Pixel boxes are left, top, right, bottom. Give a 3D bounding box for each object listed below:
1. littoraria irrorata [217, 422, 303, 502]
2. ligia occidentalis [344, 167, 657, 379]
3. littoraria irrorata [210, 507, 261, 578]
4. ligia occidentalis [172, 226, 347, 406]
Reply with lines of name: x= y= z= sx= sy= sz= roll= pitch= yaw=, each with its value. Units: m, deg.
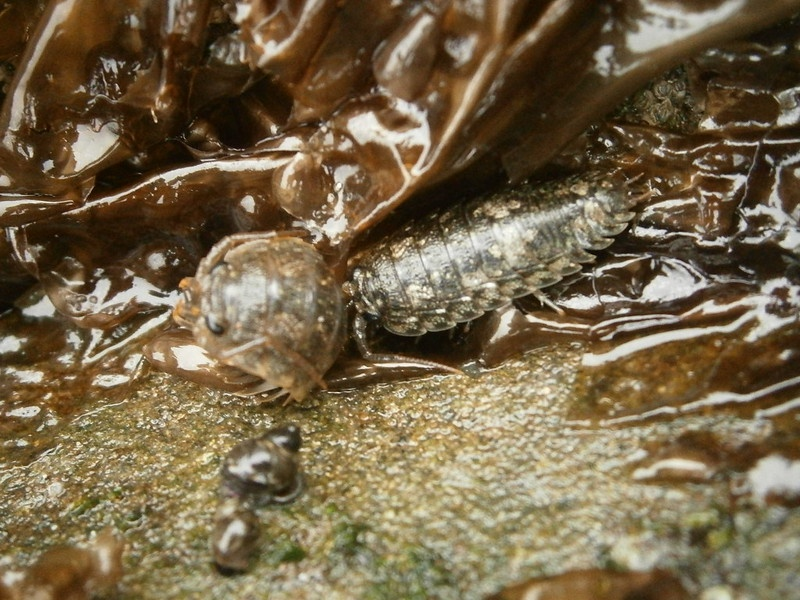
littoraria irrorata: x=-0.492 y=0.590 z=3.225 sx=0.289 sy=0.235 sz=0.221 roll=5 pitch=51 yaw=-9
ligia occidentalis: x=0.328 y=-0.165 z=3.582 sx=0.317 sy=1.217 sz=0.584 roll=1 pitch=71 yaw=-61
littoraria irrorata: x=-0.586 y=0.858 z=3.206 sx=0.154 sy=0.164 sz=0.204 roll=6 pitch=50 yaw=-8
ligia occidentalis: x=-0.326 y=-0.045 z=3.596 sx=0.934 sy=0.544 sz=0.830 roll=4 pitch=31 yaw=8
